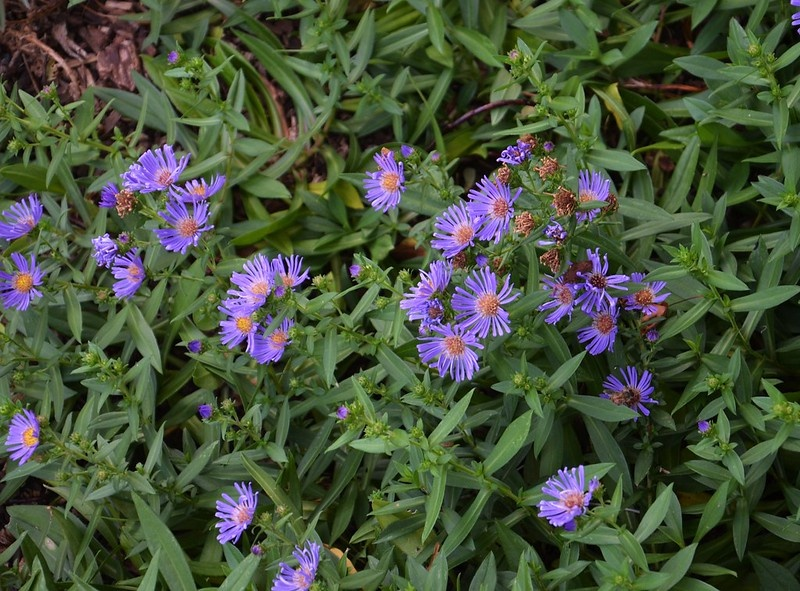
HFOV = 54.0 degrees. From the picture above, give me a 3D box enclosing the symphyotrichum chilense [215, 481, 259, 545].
[{"bbox_3d":[-0.627,0.857,3.137,0.205,0.235,0.095,-11,-74,37],"label":"symphyotrichum chilense"}]
